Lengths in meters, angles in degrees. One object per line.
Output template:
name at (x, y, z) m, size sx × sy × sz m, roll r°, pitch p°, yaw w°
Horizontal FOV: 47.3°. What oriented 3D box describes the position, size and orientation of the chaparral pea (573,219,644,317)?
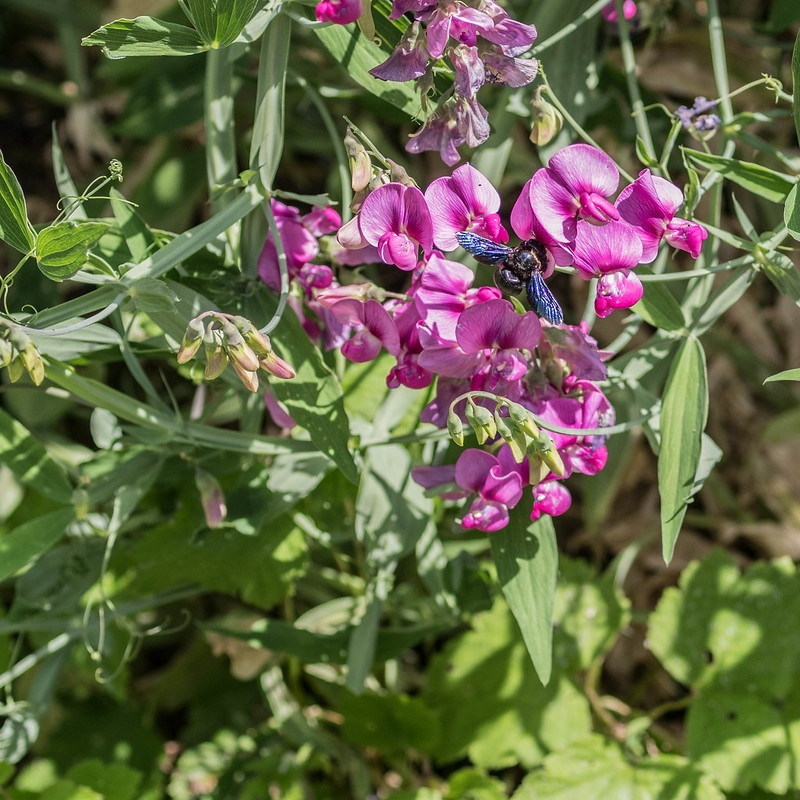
chaparral pea at (0.199, -0.123, 0.841) m, size 0.066 × 0.074 × 0.082 m, roll -26°, pitch 93°, yaw 22°
